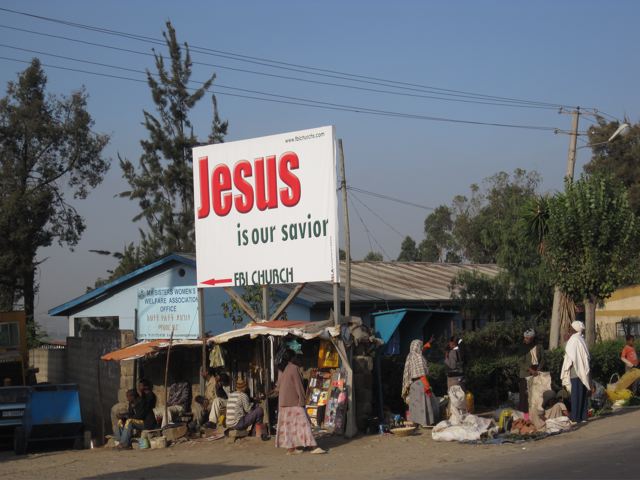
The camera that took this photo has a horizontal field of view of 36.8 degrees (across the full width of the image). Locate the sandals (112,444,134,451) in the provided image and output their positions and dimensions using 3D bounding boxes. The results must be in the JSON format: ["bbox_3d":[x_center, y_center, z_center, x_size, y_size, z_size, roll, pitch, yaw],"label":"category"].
[{"bbox_3d":[-5.820,6.171,28.483,0.576,0.281,0.220,7,-10,5],"label":"sandals"}]

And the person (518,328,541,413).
[{"bbox_3d":[6.236,3.931,28.748,0.393,2.367,1.081,2,-12,-22],"label":"person"}]

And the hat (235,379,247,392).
[{"bbox_3d":[-2.302,4.278,28.158,0.276,0.313,0.307,1,7,2],"label":"hat"}]

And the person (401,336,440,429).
[{"bbox_3d":[2.935,4.267,28.452,0.983,2.535,0.694,-4,-11,11],"label":"person"}]

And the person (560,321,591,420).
[{"bbox_3d":[7.461,3.826,28.004,0.811,2.961,0.683,-5,-11,17],"label":"person"}]

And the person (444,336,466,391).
[{"bbox_3d":[4.157,3.787,29.777,0.544,1.747,1.670,-3,-12,7],"label":"person"}]

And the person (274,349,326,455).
[{"bbox_3d":[-0.679,4.487,26.626,1.090,2.889,0.974,-2,-11,0],"label":"person"}]

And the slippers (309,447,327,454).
[{"bbox_3d":[-0.038,5.777,26.255,0.311,0.153,0.187,-6,-2,28],"label":"slippers"}]
